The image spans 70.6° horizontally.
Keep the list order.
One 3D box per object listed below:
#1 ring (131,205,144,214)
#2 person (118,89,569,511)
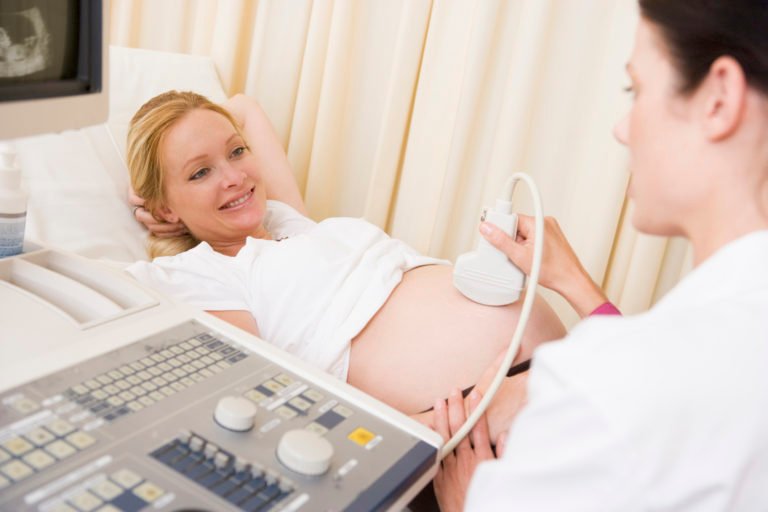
[{"bbox_3d":[-0.738,-0.146,1.628,0.032,0.029,0.032,8,9,-1],"label":"ring"},{"bbox_3d":[-0.056,0.009,1.443,1.613,0.695,0.627,8,27,21],"label":"person"}]
